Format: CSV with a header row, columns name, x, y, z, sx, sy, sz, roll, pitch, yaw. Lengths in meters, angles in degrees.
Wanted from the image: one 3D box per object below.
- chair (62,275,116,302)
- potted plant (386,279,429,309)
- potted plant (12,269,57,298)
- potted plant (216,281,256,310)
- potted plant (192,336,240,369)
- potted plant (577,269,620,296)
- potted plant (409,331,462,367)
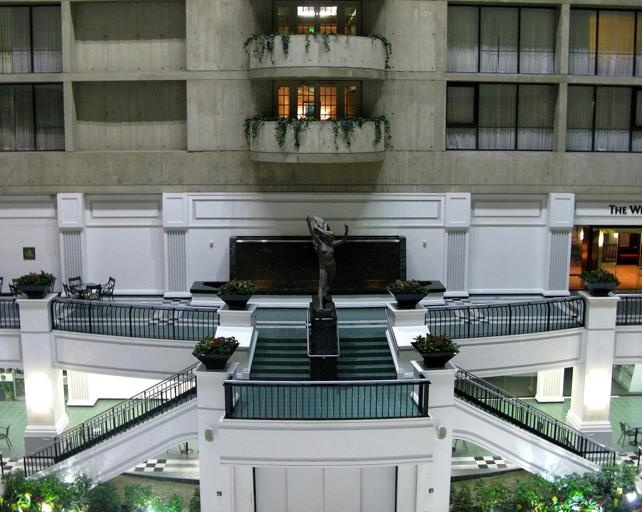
name,x,y,z,sx,sy,sz,roll,pitch,yaw
chair,-6.451,0.955,23.992,0.925,0.479,0.942,3,3,1
potted plant,2.103,0.872,21.162,0.732,0.535,0.741,0,4,-6
potted plant,-7.175,0.696,21.799,0.800,0.580,0.810,0,4,-3
potted plant,-2.003,0.949,20.902,0.709,0.581,0.712,-1,3,-8
potted plant,-2.302,2.102,18.906,0.730,0.506,0.746,-1,10,-2
potted plant,7.080,0.565,22.193,0.680,0.576,0.801,-1,8,3
potted plant,2.483,2.002,19.078,0.776,0.558,0.782,-1,8,-5
